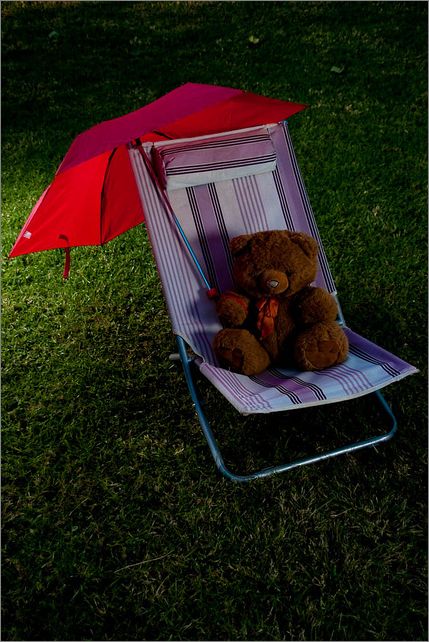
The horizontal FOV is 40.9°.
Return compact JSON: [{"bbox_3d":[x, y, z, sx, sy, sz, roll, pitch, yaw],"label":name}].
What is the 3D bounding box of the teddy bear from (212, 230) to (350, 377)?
[{"bbox_3d":[0.341,-0.091,2.876,0.713,0.612,0.565,3,24,6],"label":"teddy bear"}]
